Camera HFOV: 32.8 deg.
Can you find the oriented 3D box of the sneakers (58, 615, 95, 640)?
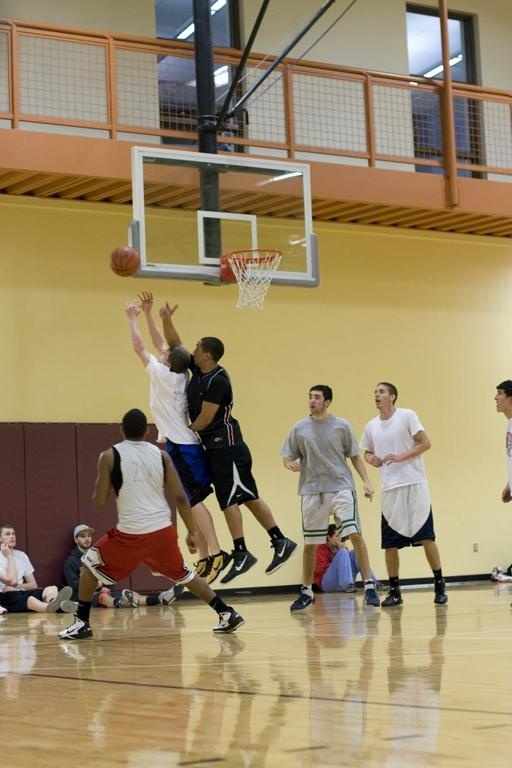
[{"bbox_3d":[-0.940,1.283,4.587,0.210,0.133,0.088,0,-11,8],"label":"sneakers"}]

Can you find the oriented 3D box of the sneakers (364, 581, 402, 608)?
[{"bbox_3d":[0.929,1.535,6.342,0.131,0.166,0.356,-4,-13,14],"label":"sneakers"}]

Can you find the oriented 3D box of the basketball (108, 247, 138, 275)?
[{"bbox_3d":[-0.911,-0.853,6.034,0.196,0.184,0.226,-1,18,1],"label":"basketball"}]

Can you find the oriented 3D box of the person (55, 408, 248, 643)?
[{"bbox_3d":[-0.520,0.718,4.363,0.749,1.151,0.353,-4,0,-12],"label":"person"}]

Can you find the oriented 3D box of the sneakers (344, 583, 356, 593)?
[{"bbox_3d":[0.918,1.955,8.381,0.056,0.111,0.163,-1,-12,22],"label":"sneakers"}]

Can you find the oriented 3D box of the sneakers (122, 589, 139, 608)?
[{"bbox_3d":[-1.061,1.814,7.367,0.073,0.090,0.210,1,4,-5],"label":"sneakers"}]

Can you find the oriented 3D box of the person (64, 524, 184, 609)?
[{"bbox_3d":[-1.099,1.496,7.815,1.181,0.648,0.977,3,-17,10],"label":"person"}]

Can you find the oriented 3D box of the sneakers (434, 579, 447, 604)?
[{"bbox_3d":[1.384,1.536,6.515,0.091,0.167,0.252,0,2,11],"label":"sneakers"}]
